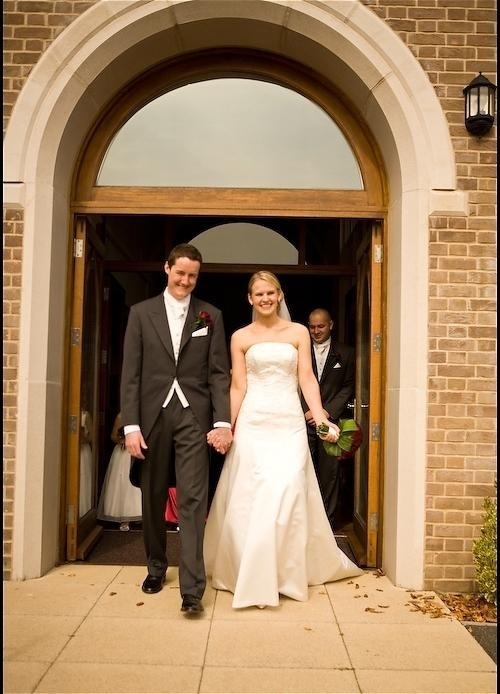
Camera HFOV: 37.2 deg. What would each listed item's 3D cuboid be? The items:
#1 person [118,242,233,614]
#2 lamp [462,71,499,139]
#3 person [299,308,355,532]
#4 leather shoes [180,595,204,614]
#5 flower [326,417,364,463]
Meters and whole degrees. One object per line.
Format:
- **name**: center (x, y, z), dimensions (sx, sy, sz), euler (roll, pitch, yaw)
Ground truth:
- **person**: center (-0.424, 0.407, 4.046), dimensions (0.607, 1.943, 0.642), euler (2, 3, 5)
- **lamp**: center (1.350, -1.431, 4.369), dimensions (0.187, 0.355, 0.150), euler (2, 3, 16)
- **person**: center (0.551, 0.611, 5.836), dimensions (0.566, 1.780, 0.512), euler (0, 17, 5)
- **leather shoes**: center (-0.294, 1.330, 3.826), dimensions (0.065, 0.065, 0.154), euler (2, -8, 2)
- **flower**: center (0.535, 0.532, 4.323), dimensions (0.209, 0.238, 0.184), euler (1, 3, 2)
